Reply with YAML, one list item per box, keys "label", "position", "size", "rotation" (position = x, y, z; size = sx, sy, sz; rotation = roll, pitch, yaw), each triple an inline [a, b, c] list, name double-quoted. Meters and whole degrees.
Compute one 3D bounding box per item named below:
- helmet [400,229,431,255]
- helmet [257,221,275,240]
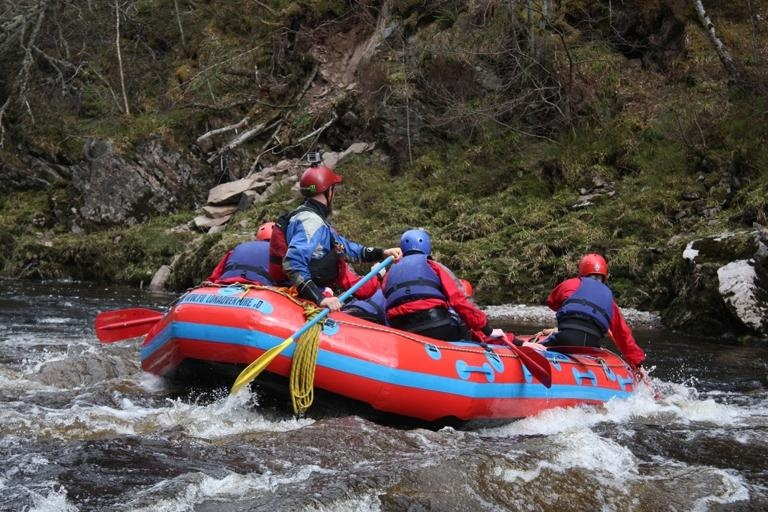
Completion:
- label: "helmet"
  position: [0.631, -0.259, 17.271]
  size: [0.450, 0.469, 0.538]
  rotation: [7, 6, 12]
- label: "helmet"
  position: [-2.351, -0.483, 18.026]
  size: [0.347, 0.333, 0.446]
  rotation: [7, 15, -8]
